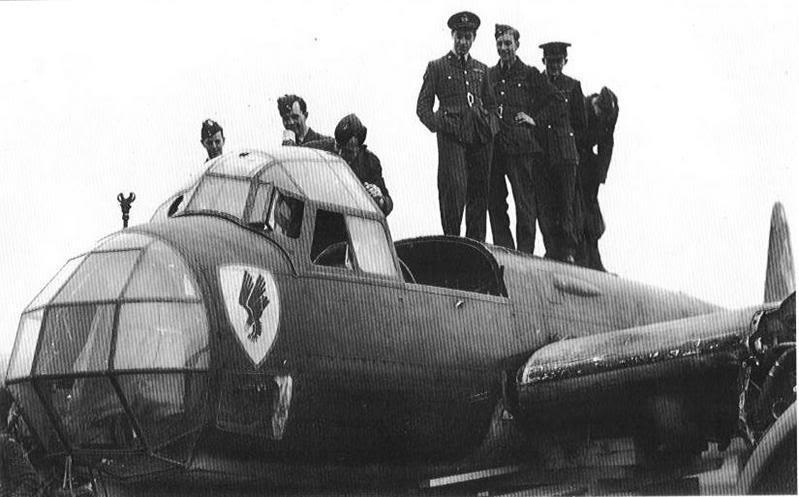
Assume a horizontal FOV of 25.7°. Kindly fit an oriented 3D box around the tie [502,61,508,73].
[{"bbox_3d":[1.789,-3.026,28.883,0.145,0.148,0.039,0,0,-4],"label":"tie"}]

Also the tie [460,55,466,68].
[{"bbox_3d":[1.099,-3.109,28.921,0.166,0.163,0.045,1,1,0],"label":"tie"}]
